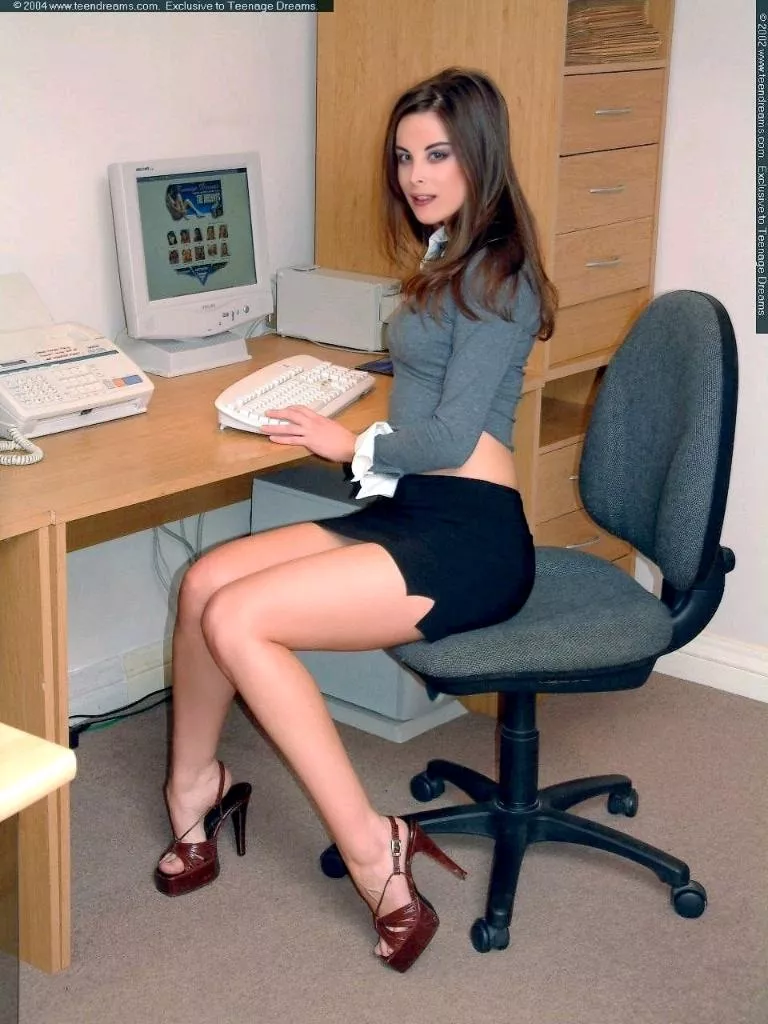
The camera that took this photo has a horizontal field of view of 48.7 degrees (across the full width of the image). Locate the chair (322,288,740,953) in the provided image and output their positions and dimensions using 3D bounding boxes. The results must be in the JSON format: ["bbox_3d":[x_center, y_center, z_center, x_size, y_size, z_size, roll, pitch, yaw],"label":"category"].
[{"bbox_3d":[0.265,0.162,1.504,0.722,0.967,0.566,-1,9,3],"label":"chair"}]

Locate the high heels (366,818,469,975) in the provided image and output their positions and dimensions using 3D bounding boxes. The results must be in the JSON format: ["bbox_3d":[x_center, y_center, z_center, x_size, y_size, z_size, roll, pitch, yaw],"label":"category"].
[{"bbox_3d":[0.049,0.577,1.356,0.111,0.261,0.097,10,-5,-23],"label":"high heels"}]

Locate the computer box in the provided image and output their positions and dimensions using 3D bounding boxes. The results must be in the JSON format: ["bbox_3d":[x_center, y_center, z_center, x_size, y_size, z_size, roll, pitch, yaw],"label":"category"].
[{"bbox_3d":[0.024,0.138,2.256,0.420,0.516,0.572,-1,-4,0],"label":"computer box"}]

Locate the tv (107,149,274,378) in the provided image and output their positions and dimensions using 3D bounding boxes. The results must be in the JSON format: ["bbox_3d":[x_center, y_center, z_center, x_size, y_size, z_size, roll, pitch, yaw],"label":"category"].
[{"bbox_3d":[-0.441,-0.547,1.868,0.275,0.505,0.469,23,33,38],"label":"tv"}]
